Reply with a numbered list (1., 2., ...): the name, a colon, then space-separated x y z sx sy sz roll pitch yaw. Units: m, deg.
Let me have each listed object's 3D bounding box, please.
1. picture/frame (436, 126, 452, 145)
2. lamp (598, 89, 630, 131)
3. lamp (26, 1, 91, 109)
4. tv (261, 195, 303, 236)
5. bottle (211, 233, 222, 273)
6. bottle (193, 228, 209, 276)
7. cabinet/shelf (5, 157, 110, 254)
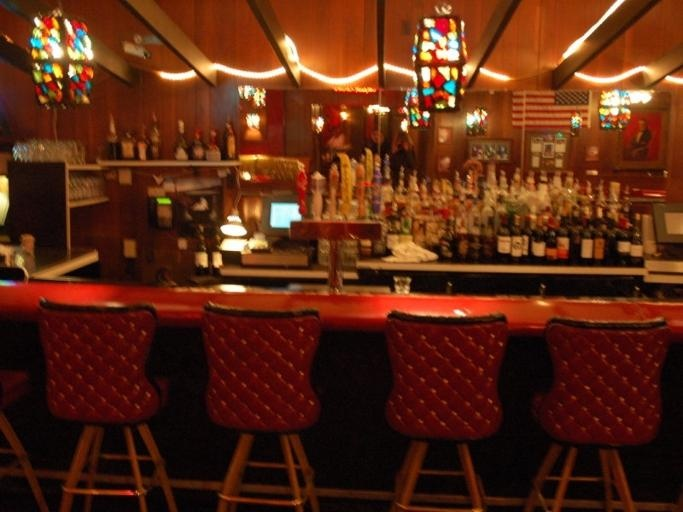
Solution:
1. picture/frame: 1.195 -1.413 6.742 0.181 0.230 0.035 1 5 -1
2. lamp: 3.129 -1.663 6.575 0.421 0.430 0.112 -2 6 -26
3. lamp: -2.088 -1.458 4.322 0.311 0.693 0.424 1 5 9
4. tv: -0.603 -0.399 5.889 0.406 0.460 0.236 1 -14 0
5. bottle: -1.428 -0.016 6.565 0.098 0.453 0.166 -2 6 -28
6. bottle: -1.611 -0.066 6.586 0.196 0.559 0.107 1 5 12
7. cabinet/shelf: -3.000 -0.514 6.190 0.658 0.929 1.370 0 6 -5
